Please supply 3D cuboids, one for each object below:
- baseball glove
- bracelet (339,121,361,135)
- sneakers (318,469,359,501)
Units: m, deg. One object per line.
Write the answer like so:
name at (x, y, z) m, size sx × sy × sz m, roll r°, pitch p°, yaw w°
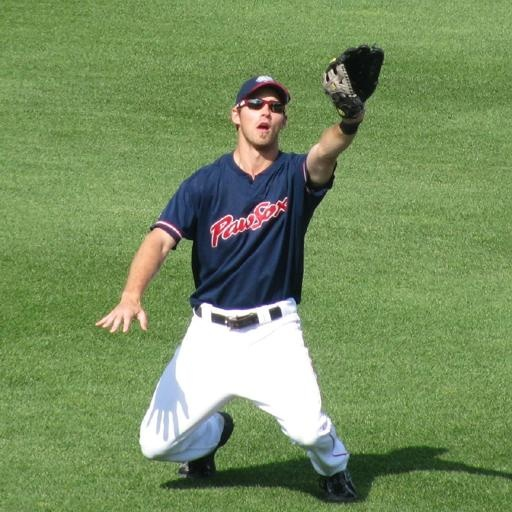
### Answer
baseball glove at (0.681, -1.196, 6.532) m, size 0.197 × 0.625 × 0.434 m, roll -1°, pitch -23°, yaw 34°
bracelet at (0.652, -0.890, 6.608) m, size 0.085 × 0.082 × 0.095 m, roll -2°, pitch 6°, yaw 1°
sneakers at (0.626, 1.791, 7.316) m, size 0.214 × 0.313 × 0.229 m, roll -4°, pitch -5°, yaw -21°
